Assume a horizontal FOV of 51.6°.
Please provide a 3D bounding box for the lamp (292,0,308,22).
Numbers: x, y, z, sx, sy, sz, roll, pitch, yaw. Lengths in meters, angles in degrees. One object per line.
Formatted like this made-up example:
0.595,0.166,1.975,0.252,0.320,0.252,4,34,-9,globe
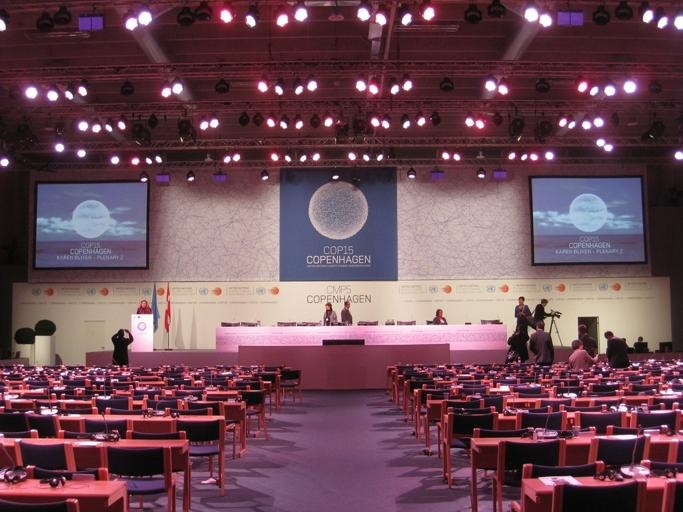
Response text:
-0.938,-5.647,15.969,0.299,0.469,0.334,-3,5,-6,lamp

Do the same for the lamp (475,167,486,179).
5.208,-3.186,26.399,0.395,0.143,0.578,0,-6,4,lamp

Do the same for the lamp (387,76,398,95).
1.411,-4.695,19.150,0.249,0.466,0.468,-2,5,9,lamp

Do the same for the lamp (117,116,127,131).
-6.656,-4.119,21.473,0.190,0.391,0.523,-3,5,-10,lamp

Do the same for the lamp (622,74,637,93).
7.660,-4.587,18.810,0.301,0.342,0.637,0,5,25,lamp

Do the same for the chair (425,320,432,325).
3.348,2.523,26.863,0.181,0.176,0.181,2,-5,-21,chair

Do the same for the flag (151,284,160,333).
-7.250,2.081,27.524,0.316,1.837,1.293,-4,5,-15,flag

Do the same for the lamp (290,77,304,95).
-1.156,-4.507,18.756,0.343,0.493,0.460,-1,26,-7,lamp

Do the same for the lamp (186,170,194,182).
-5.732,-3.085,26.776,0.413,0.142,0.599,1,-32,-11,lamp

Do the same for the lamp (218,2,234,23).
-2.609,-5.629,16.113,0.294,0.408,0.324,-3,5,-8,lamp

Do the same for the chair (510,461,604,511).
3.042,3.387,9.814,1.278,0.888,0.749,0,0,-1,chair

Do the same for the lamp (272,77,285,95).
-1.656,-4.632,18.960,0.248,0.426,0.404,-3,5,0,lamp

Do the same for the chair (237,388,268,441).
-1.747,3.248,14.646,0.491,0.753,0.480,14,-5,43,chair

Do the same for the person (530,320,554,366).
5.535,2.393,19.592,0.623,1.319,0.975,-1,5,15,person

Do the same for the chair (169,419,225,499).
-2.383,3.392,12.021,0.878,1.147,0.959,-6,-8,18,chair

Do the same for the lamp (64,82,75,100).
-7.349,-4.553,19.184,0.249,0.420,0.424,-5,5,-25,lamp

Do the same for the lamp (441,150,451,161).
3.523,-3.463,24.117,0.380,0.282,0.391,2,2,19,lamp

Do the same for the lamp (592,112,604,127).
7.460,-3.988,20.610,0.328,0.300,0.078,2,0,6,lamp

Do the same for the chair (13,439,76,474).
-4.345,2.983,10.516,0.502,0.764,0.597,2,-6,1,chair

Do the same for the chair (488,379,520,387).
3.673,2.825,15.752,0.329,0.133,0.242,-1,-3,-8,chair

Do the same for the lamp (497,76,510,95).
4.402,-4.697,19.153,0.224,0.547,1.387,-1,5,17,lamp

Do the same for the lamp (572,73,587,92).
6.389,-4.663,18.810,0.281,0.443,0.404,-1,5,15,lamp

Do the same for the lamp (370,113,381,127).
0.988,-3.922,20.351,0.302,0.325,0.377,4,28,5,lamp

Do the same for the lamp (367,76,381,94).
0.923,-4.904,19.940,0.490,0.501,0.856,-10,13,8,lamp

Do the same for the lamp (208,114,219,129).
-3.787,-4.048,20.945,0.245,0.315,0.653,-4,5,-11,lamp

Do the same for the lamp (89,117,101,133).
-7.530,-4.033,21.667,0.231,0.351,1.073,-5,5,-21,lamp

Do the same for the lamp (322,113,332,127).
-0.385,-4.080,20.855,0.233,0.394,0.838,-3,5,-3,lamp

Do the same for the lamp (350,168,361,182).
0.564,-3.175,27.342,0.469,0.840,0.459,1,-35,1,lamp

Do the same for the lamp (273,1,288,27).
-1.397,-5.695,16.453,0.259,0.562,0.643,-3,5,-4,lamp

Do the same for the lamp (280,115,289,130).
-1.701,-4.016,21.187,0.331,0.471,0.450,2,22,2,lamp

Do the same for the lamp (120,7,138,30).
-4.866,-5.558,16.317,0.299,0.482,0.418,-4,5,-16,lamp

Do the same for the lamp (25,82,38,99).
-8.303,-4.483,18.946,0.368,0.280,0.355,-3,9,-30,lamp

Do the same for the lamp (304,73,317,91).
-0.798,-4.693,18.804,0.252,0.442,0.721,-2,5,3,lamp

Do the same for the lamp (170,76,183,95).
-4.433,-4.615,19.049,0.294,0.380,0.744,-4,5,-13,lamp

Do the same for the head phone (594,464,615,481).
3.655,2.978,9.725,0.320,0.145,0.234,0,-3,-12,head phone

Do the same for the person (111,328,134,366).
-6.682,2.805,21.541,0.590,1.212,0.972,-4,5,-17,person

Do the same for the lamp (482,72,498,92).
3.942,-4.645,18.601,0.309,0.430,0.453,-1,5,15,lamp

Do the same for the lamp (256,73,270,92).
-2.100,-4.661,18.938,0.249,0.345,0.507,-3,5,-1,lamp

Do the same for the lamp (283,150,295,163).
-1.851,-3.580,25.082,0.486,0.482,0.773,-9,1,-5,lamp

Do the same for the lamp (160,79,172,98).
-4.689,-4.564,18.929,0.263,0.483,0.770,-4,5,-14,lamp

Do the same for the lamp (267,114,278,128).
-2.107,-4.106,21.358,0.556,0.399,0.527,-1,1,-6,lamp

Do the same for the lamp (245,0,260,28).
-2.057,-5.614,16.187,0.277,0.550,0.556,-3,5,-9,lamp

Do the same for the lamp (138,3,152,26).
-4.531,-5.645,16.244,0.316,0.518,0.405,-4,5,-16,lamp

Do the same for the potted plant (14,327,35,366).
-12.124,3.439,27.101,0.741,1.278,1.485,-5,5,-26,potted plant

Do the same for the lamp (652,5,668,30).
7.292,-5.518,16.110,0.290,0.498,0.507,0,5,25,lamp

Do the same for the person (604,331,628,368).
7.411,2.483,18.955,0.567,1.002,0.671,-1,5,20,person

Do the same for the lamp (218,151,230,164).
-4.344,-3.719,26.288,0.617,0.147,0.621,28,36,34,lamp

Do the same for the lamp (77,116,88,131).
-7.848,-4.013,21.443,0.300,0.288,0.605,-5,5,-22,lamp

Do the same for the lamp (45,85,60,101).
-7.807,-4.439,19.111,0.275,0.291,0.378,-5,6,-28,lamp

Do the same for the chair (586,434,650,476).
4.171,3.057,10.849,0.602,0.884,0.750,1,-5,6,chair

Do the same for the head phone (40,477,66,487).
-3.872,3.076,9.627,0.156,0.081,0.220,-1,-7,6,head phone

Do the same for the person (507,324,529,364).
5.101,2.549,20.469,0.555,1.109,0.616,-1,5,21,person

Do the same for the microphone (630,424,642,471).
4.382,2.894,10.535,0.156,0.160,0.622,-10,-38,17,microphone

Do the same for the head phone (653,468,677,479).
4.379,2.956,9.563,0.142,0.069,0.183,3,-5,-41,head phone

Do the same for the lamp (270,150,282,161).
-2.334,-3.592,24.660,0.429,0.153,0.425,7,-8,-15,lamp

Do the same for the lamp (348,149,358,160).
0.381,-3.589,24.535,0.349,0.205,0.349,8,-7,-11,lamp

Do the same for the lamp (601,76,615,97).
7.133,-4.616,19.045,0.456,0.495,0.490,15,14,41,lamp
